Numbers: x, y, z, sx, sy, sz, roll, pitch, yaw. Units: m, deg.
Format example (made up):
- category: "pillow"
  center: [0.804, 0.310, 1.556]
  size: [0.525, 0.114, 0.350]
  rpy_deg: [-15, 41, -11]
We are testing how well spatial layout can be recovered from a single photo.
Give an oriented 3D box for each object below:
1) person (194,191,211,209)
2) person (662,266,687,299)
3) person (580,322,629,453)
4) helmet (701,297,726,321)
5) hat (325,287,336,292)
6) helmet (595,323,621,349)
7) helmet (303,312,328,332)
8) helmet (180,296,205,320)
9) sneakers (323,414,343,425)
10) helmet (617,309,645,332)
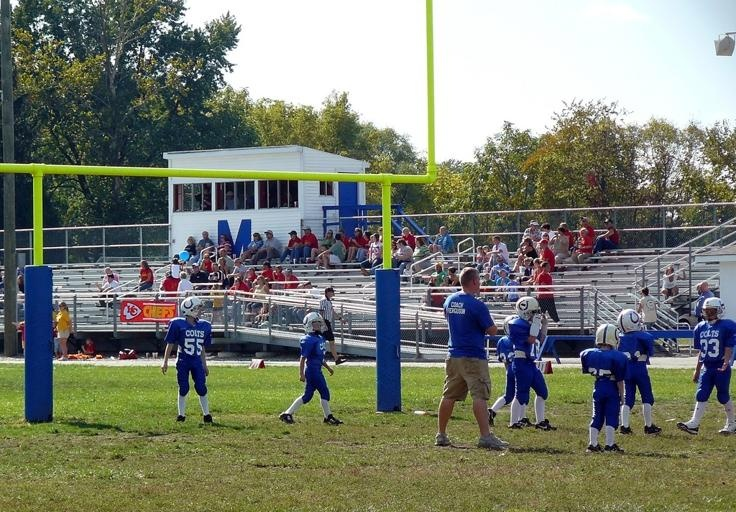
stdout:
- category: "person"
  center: [-5.806, -1.979, 51.714]
  size: [0.813, 0.694, 0.297]
  rpy_deg: [10, 16, 38]
- category: "person"
  center: [8.699, 0.791, 41.942]
  size: [0.705, 1.194, 0.665]
  rpy_deg: [0, -25, 12]
- category: "person"
  center: [4.899, 2.704, 30.517]
  size: [0.870, 2.447, 1.150]
  rpy_deg: [1, 13, 9]
- category: "helmet"
  center: [7.501, 1.168, 31.902]
  size: [0.383, 0.460, 0.511]
  rpy_deg: [-5, -13, 29]
- category: "hat"
  center: [-1.054, 0.907, 39.832]
  size: [0.246, 0.114, 0.351]
  rpy_deg: [2, 0, 13]
- category: "helmet"
  center: [4.998, 1.677, 30.747]
  size: [0.373, 0.451, 0.512]
  rpy_deg: [3, -14, 18]
- category: "helmet"
  center: [-1.243, 1.416, 32.215]
  size: [0.529, 0.440, 0.429]
  rpy_deg: [-17, -5, 5]
- category: "helmet"
  center: [-3.876, 1.133, 32.571]
  size: [0.491, 0.468, 0.416]
  rpy_deg: [-9, 19, -23]
- category: "sneakers"
  center: [-0.730, 3.557, 32.005]
  size: [0.482, 0.208, 0.168]
  rpy_deg: [0, 0, 17]
- category: "helmet"
  center: [5.601, 1.333, 31.517]
  size: [0.394, 0.484, 0.520]
  rpy_deg: [22, 47, 35]
